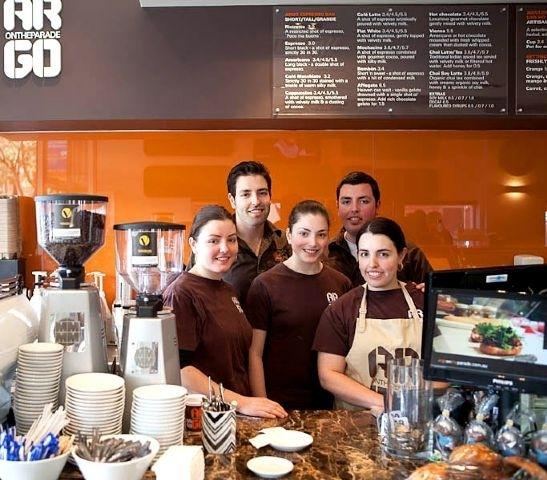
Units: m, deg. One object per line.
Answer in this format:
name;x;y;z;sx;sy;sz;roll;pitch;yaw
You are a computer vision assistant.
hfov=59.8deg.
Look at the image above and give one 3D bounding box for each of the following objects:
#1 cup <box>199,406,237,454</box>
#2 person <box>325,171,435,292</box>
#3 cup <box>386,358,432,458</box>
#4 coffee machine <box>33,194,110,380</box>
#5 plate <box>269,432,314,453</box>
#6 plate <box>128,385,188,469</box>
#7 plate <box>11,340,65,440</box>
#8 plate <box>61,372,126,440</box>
cup;-0.160;0.567;1.461;0.112;0.122;0.112;-1;-4;0
person;0.616;-0.043;2.647;0.603;0.794;0.288;-6;-7;40
cup;0.411;0.507;1.447;0.138;0.255;0.141;-1;-6;0
coffee machine;-0.675;0.150;1.591;0.221;0.596;0.205;0;1;-27
plate;0.053;0.616;1.455;0.124;0.020;0.125;2;1;32
plate;-0.321;0.552;1.429;0.161;0.184;0.166;3;4;6
plate;-0.715;0.452;1.441;0.134;0.259;0.073;0;1;-19
plate;-0.500;0.461;1.390;0.160;0.180;0.171;1;0;2
